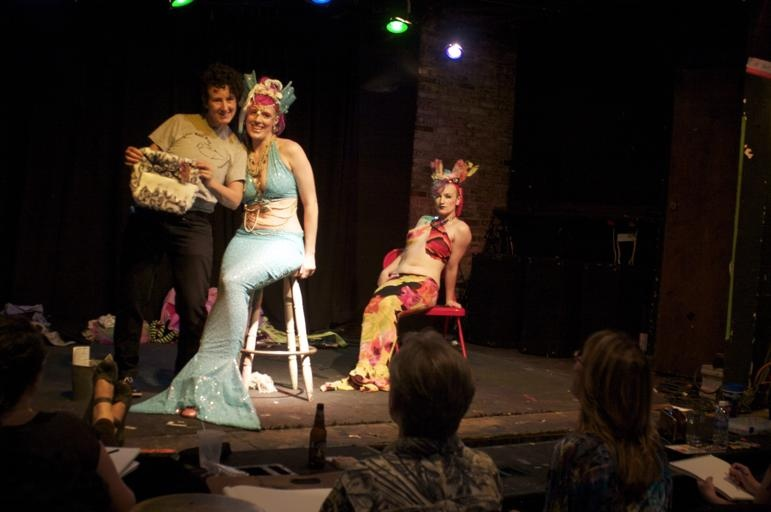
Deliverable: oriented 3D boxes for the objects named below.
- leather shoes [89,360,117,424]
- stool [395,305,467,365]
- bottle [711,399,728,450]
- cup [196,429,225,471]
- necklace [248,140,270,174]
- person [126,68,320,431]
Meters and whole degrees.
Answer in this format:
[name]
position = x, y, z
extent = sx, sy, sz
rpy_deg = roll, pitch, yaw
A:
[leather shoes]
position = -1.300, 0.600, 2.782
extent = 0.120, 0.341, 0.119
rpy_deg = 5, -6, -22
[stool]
position = 0.434, 0.744, 5.625
extent = 0.628, 0.510, 0.474
rpy_deg = 0, -4, 7
[bottle]
position = 2.135, 1.076, 3.804
extent = 0.092, 0.288, 0.330
rpy_deg = 6, 2, 31
[cup]
position = -0.850, 0.930, 2.878
extent = 0.172, 0.175, 0.169
rpy_deg = 1, -6, 0
[necklace]
position = -0.885, -0.690, 4.279
extent = 0.195, 0.232, 0.120
rpy_deg = -2, -2, 16
[person]
position = -0.998, -0.094, 4.084
extent = 0.781, 2.315, 0.761
rpy_deg = 5, 2, 17
